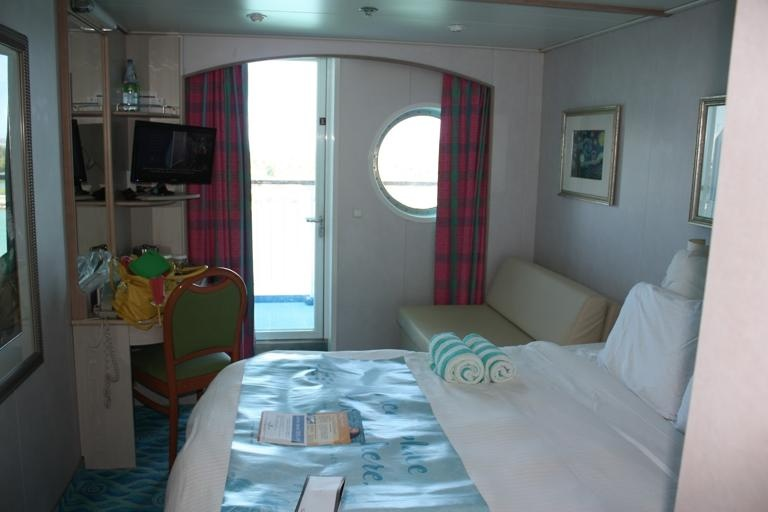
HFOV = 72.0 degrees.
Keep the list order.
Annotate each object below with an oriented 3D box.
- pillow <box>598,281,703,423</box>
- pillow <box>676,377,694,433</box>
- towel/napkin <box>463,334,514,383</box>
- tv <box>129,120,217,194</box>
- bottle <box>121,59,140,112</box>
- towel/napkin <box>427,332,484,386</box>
[{"bbox_3d":[1.345,0.476,2.627,0.183,0.539,0.560,19,6,-18],"label":"pillow"},{"bbox_3d":[1.344,0.668,2.371,0.047,0.241,0.300,6,13,30],"label":"pillow"},{"bbox_3d":[0.574,0.488,2.824,0.174,0.135,0.347,0,7,-12],"label":"towel/napkin"},{"bbox_3d":[-1.534,-0.711,3.778,0.667,0.461,0.074,-3,17,-43],"label":"tv"},{"bbox_3d":[-1.840,-1.233,3.816,0.119,0.383,0.468,-6,12,-23],"label":"bottle"},{"bbox_3d":[0.398,0.515,2.817,0.190,0.123,0.337,-1,4,-5],"label":"towel/napkin"}]
